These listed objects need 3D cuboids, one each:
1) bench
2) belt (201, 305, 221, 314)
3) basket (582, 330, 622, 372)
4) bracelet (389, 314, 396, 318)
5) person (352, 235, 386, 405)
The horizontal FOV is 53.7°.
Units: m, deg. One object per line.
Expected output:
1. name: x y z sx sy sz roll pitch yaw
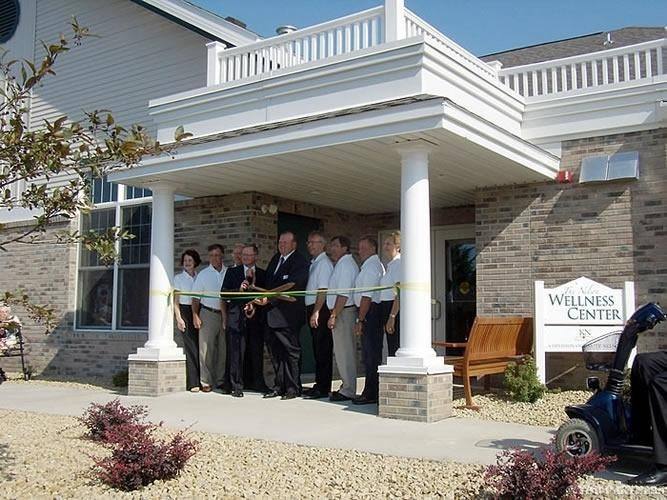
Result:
1. bench: 2.285 1.598 9.911 1.056 1.233 1.932 -5 -6 41
2. belt: -2.014 0.966 10.863 0.329 0.125 0.109 4 -7 -11
3. basket: 2.691 0.996 6.483 0.417 0.376 0.341 -2 -20 34
4. bracelet: 0.857 0.929 9.304 0.083 0.065 0.116 3 -7 5
5. person: 0.543 1.005 9.696 0.450 2.425 0.575 3 -7 4
